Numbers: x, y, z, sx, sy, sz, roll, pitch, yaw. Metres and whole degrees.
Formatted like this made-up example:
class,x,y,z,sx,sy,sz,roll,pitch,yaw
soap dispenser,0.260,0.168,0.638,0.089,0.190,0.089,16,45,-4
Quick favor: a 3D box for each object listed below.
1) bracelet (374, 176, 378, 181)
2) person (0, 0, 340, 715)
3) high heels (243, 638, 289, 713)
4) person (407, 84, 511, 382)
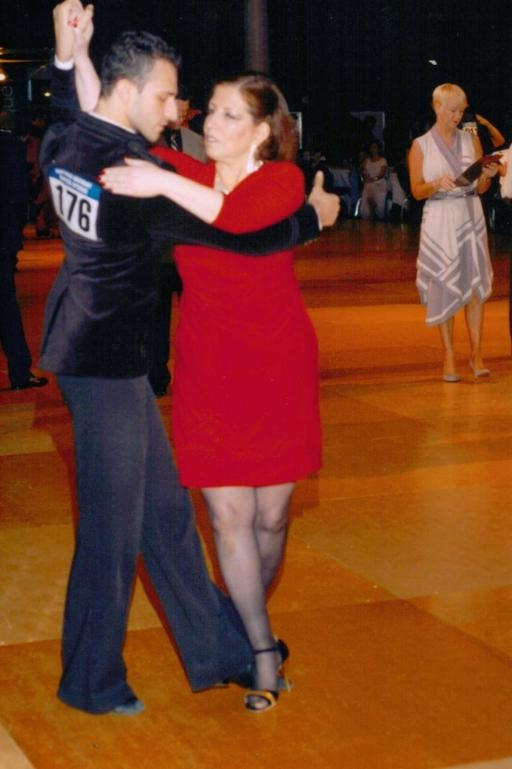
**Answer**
class,x,y,z,sx,sy,sz,roll,pitch,yaw
bracelet,4.218,-7.237,24.273,0.106,0.031,0.568,0,6,11
person,-0.229,0.090,1.763,0.602,1.748,0.528,-3,5,-18
high heels,0.038,0.866,2.051,0.074,0.104,0.244,-7,-3,13
person,2.022,-1.585,7.030,0.794,3.090,0.855,2,6,40
